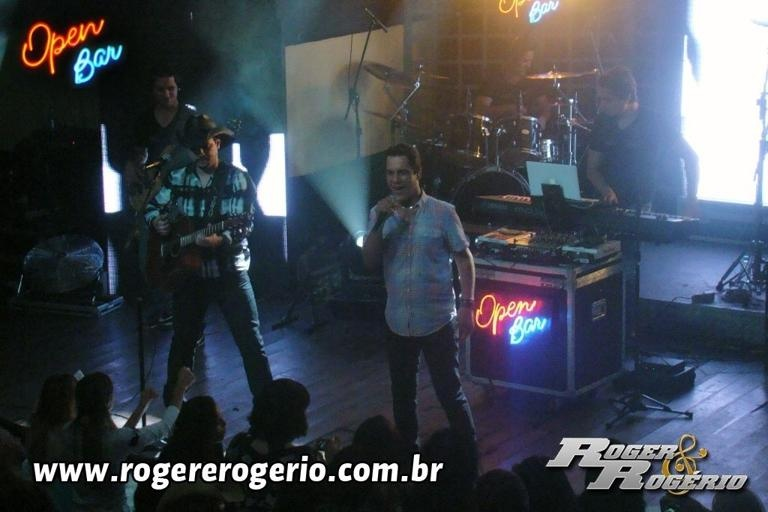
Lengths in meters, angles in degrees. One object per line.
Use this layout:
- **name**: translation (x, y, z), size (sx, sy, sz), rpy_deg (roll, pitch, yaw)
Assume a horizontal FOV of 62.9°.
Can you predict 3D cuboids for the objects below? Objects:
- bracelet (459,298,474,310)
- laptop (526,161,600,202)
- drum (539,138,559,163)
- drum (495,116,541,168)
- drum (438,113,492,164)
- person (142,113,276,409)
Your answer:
- **bracelet**: translation (0.587, 0.345, 4.432), size (0.078, 0.059, 0.075), rpy_deg (2, 7, -9)
- **laptop**: translation (1.399, -0.646, 5.104), size (0.509, 0.351, 0.318), rpy_deg (10, 18, 38)
- **drum**: translation (2.272, -1.448, 8.663), size (0.234, 0.314, 0.598), rpy_deg (3, 7, 29)
- **drum**: translation (1.876, -1.586, 8.807), size (0.738, 0.716, 0.755), rpy_deg (0, 8, 10)
- **drum**: translation (1.136, -1.675, 9.036), size (0.700, 0.728, 0.718), rpy_deg (3, -1, 34)
- **person**: translation (-1.359, 0.177, 4.903), size (0.937, 1.829, 0.442), rpy_deg (0, 5, -7)
